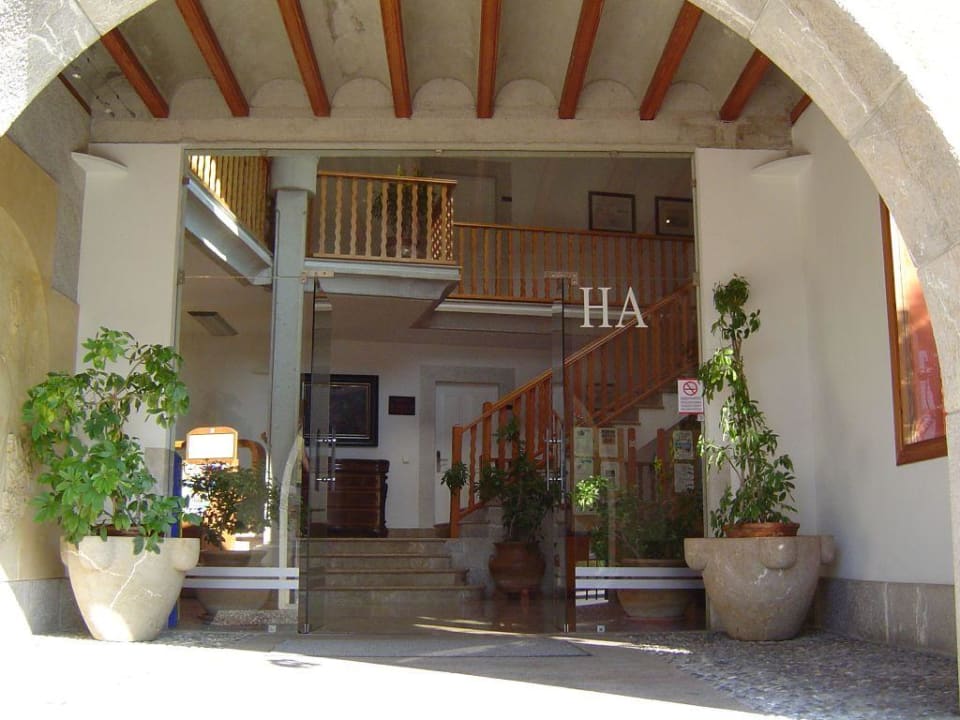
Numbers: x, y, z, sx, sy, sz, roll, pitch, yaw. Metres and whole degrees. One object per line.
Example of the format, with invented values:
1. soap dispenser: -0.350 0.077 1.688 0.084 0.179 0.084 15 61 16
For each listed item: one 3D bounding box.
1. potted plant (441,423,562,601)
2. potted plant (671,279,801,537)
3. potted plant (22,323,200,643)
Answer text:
1. potted plant: 0.373 1.447 7.855 1.492 2.145 1.416 1 -11 -4
2. potted plant: 1.677 0.243 5.132 0.609 1.753 0.851 -3 -10 21
3. potted plant: -2.258 0.687 4.844 0.982 1.927 0.924 -5 -11 26
